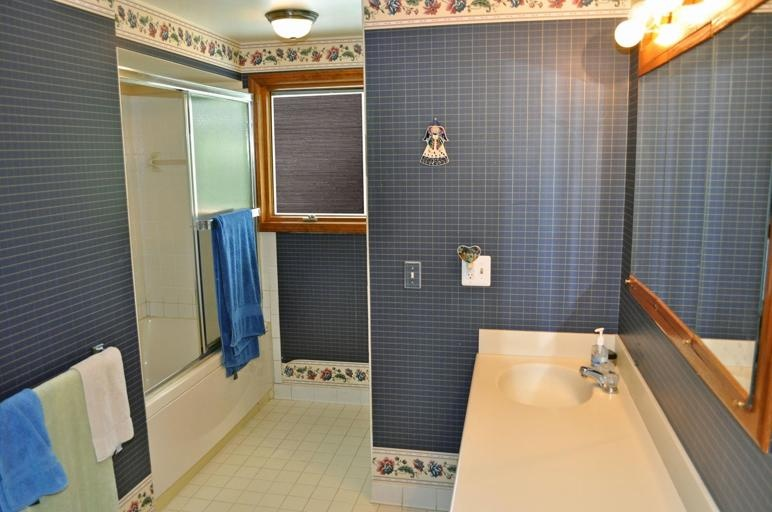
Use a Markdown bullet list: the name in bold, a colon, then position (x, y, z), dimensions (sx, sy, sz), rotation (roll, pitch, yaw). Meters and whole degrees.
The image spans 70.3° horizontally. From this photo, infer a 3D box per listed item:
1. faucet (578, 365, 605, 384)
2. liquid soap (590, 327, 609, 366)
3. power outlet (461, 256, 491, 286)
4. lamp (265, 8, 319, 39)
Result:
- **faucet**: position (1.029, 0.586, 2.718), dimensions (0.124, 0.071, 0.092), rotation (5, -9, 31)
- **liquid soap**: position (1.121, 0.465, 2.855), dimensions (0.086, 0.217, 0.312), rotation (7, -8, 22)
- **power outlet**: position (0.510, 0.070, 3.055), dimensions (0.175, 0.168, 0.018), rotation (1, 10, 9)
- **lamp**: position (-0.612, -1.538, 3.548), dimensions (0.328, 0.127, 0.237), rotation (12, -8, -15)
